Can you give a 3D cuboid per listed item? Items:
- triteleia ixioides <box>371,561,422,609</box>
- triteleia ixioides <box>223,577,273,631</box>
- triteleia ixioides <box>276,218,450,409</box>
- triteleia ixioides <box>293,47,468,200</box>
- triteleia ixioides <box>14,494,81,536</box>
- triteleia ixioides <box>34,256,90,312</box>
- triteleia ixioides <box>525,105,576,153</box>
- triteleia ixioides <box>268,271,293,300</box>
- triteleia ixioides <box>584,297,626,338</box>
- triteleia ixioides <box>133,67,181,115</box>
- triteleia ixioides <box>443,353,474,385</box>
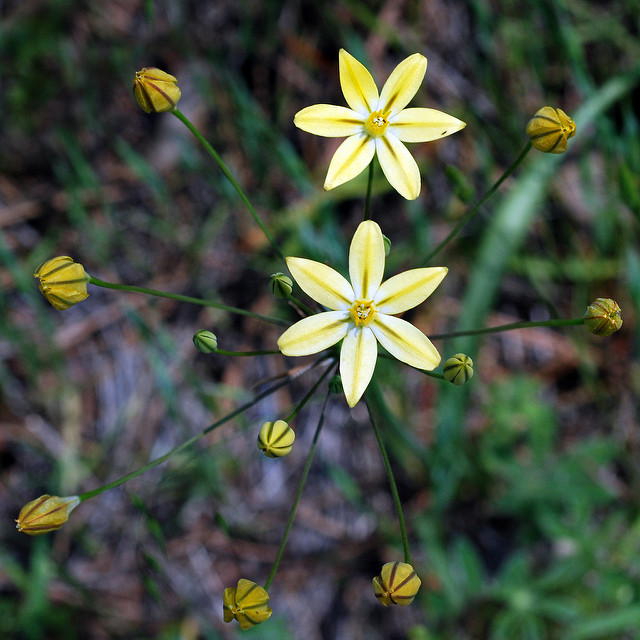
[{"bbox_3d":[0.364,1.211,3.441,0.190,0.134,0.213,-31,99,2],"label":"triteleia ixioides"},{"bbox_3d":[-0.339,1.308,3.391,0.229,0.134,0.221,-27,84,-2],"label":"triteleia ixioides"},{"bbox_3d":[0.208,-0.019,3.304,0.830,0.214,0.825,-26,57,-16],"label":"triteleia ixioides"},{"bbox_3d":[0.278,-0.946,3.466,0.683,0.230,0.928,-19,69,-1],"label":"triteleia ixioides"},{"bbox_3d":[-1.279,0.901,3.506,0.297,0.124,0.185,-12,88,-32],"label":"triteleia ixioides"},{"bbox_3d":[-1.184,-0.187,3.453,0.217,0.221,0.228,-25,84,-2],"label":"triteleia ixioides"},{"bbox_3d":[1.114,-0.908,3.550,0.177,0.252,0.254,4,93,-3],"label":"triteleia ixioides"},{"bbox_3d":[-0.166,-0.179,3.420,0.112,0.085,0.074,41,53,-17],"label":"triteleia ixioides"},{"bbox_3d":[1.337,-0.018,3.486,0.155,0.114,0.192,-5,104,3],"label":"triteleia ixioides"},{"bbox_3d":[-0.770,-1.081,3.462,0.188,0.162,0.184,12,84,2],"label":"triteleia ixioides"},{"bbox_3d":[0.632,0.213,3.401,0.067,0.128,0.133,-36,106,-54],"label":"triteleia ixioides"}]
